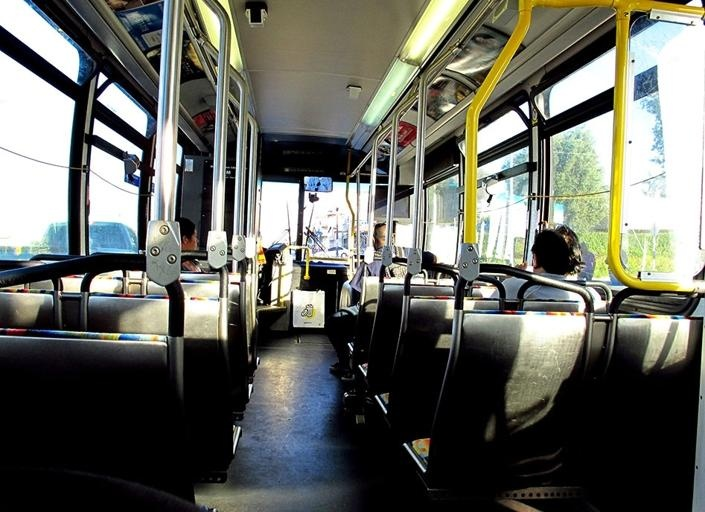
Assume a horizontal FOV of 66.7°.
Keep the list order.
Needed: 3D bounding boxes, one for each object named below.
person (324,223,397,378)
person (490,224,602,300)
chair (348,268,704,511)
[{"bbox_3d":[-0.001,0.414,4.945,0.492,1.398,0.495,13,9,5],"label":"person"},{"bbox_3d":[1.307,0.133,3.428,0.695,0.675,0.365,4,-6,12],"label":"person"},{"bbox_3d":[0.971,0.675,2.885,1.381,1.168,1.066,3,1,-1],"label":"chair"}]
